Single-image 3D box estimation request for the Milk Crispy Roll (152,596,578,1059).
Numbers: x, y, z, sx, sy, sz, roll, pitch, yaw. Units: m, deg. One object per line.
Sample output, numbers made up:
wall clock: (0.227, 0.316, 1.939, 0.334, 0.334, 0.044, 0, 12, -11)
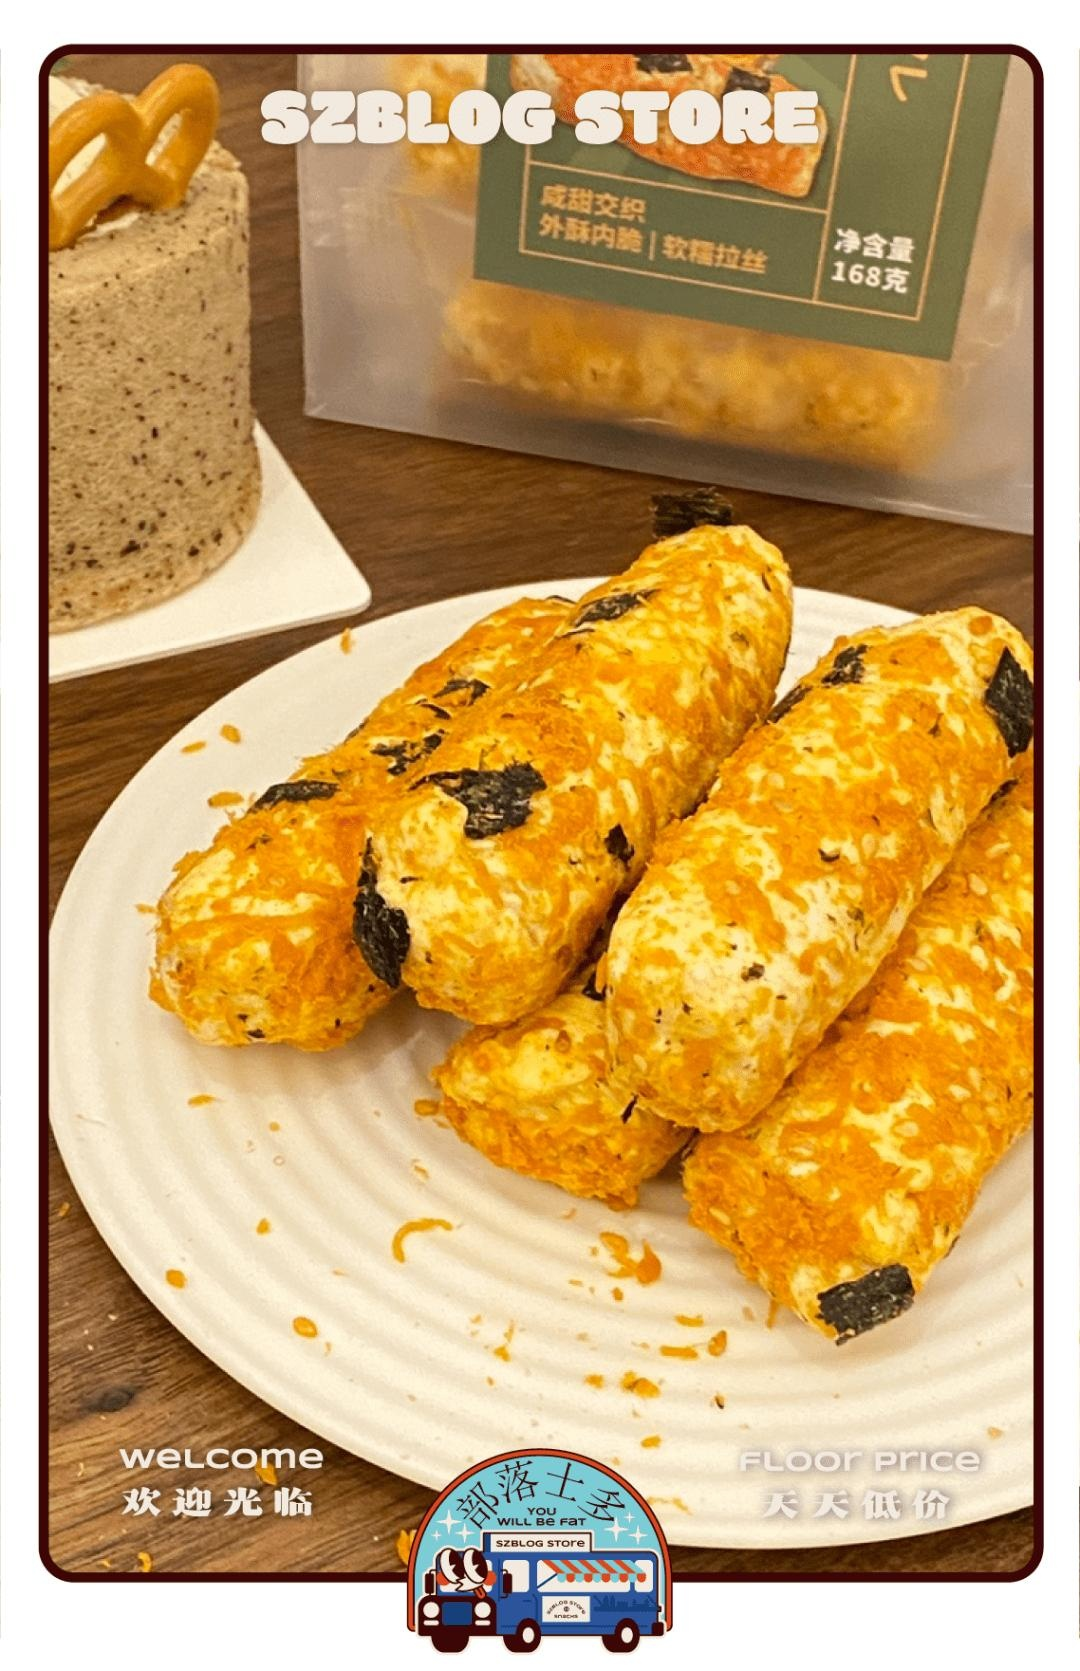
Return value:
Milk Crispy Roll: (-0.078, -0.008, 1.023, 0.176, 0.110, 0.372, 34, 67, 31)
